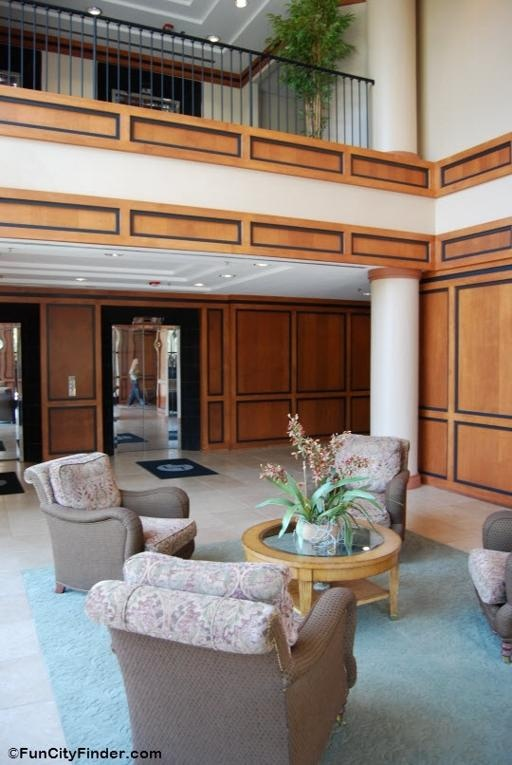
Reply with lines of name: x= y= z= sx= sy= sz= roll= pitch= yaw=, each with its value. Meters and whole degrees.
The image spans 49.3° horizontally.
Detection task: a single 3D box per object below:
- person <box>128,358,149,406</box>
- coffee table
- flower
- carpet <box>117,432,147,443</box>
person: x=-2.359 y=-0.021 z=10.880 sx=0.585 sy=0.918 sz=0.311 roll=-3 pitch=-2 yaw=40
coffee table: x=0.407 y=1.092 z=3.202 sx=0.861 sy=0.436 sz=0.850 roll=-2 pitch=1 yaw=-40
flower: x=0.423 y=0.605 z=3.287 sx=0.690 sy=0.828 sz=0.624 roll=-1 pitch=-15 yaw=14
carpet: x=-2.407 y=1.047 z=10.675 sx=0.476 sy=0.193 sz=0.738 roll=-1 pitch=-2 yaw=-18
